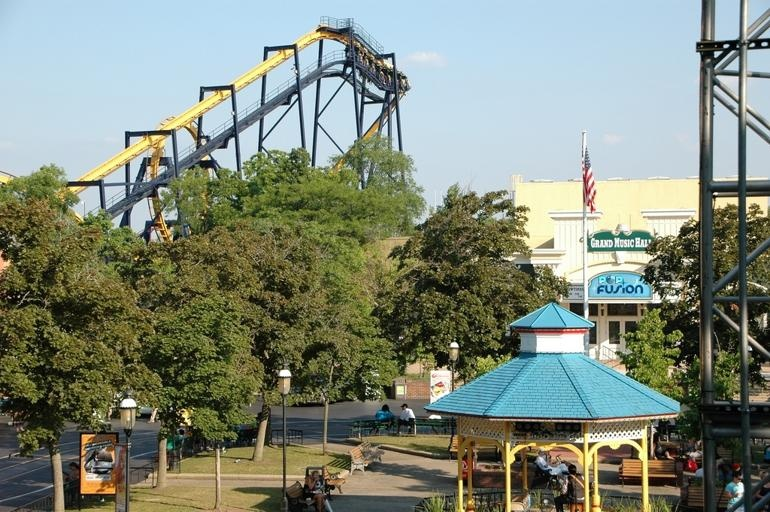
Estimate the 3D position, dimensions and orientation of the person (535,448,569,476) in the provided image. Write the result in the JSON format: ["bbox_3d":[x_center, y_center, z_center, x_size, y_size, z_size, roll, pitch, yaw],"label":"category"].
[{"bbox_3d":[7.263,9.058,67.147,1.340,0.846,0.861,-2,6,1],"label":"person"}]

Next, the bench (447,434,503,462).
[{"bbox_3d":[4.255,8.703,73.382,2.174,0.559,2.300,2,17,3],"label":"bench"}]

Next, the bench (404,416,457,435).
[{"bbox_3d":[2.221,9.039,82.468,2.505,1.062,3.272,1,-11,-5],"label":"bench"}]

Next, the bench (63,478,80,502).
[{"bbox_3d":[-13.742,10.292,67.652,0.960,0.978,0.926,0,3,-1],"label":"bench"}]

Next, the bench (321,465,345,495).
[{"bbox_3d":[-2.290,9.944,68.911,1.074,0.646,1.187,3,12,-41],"label":"bench"}]
